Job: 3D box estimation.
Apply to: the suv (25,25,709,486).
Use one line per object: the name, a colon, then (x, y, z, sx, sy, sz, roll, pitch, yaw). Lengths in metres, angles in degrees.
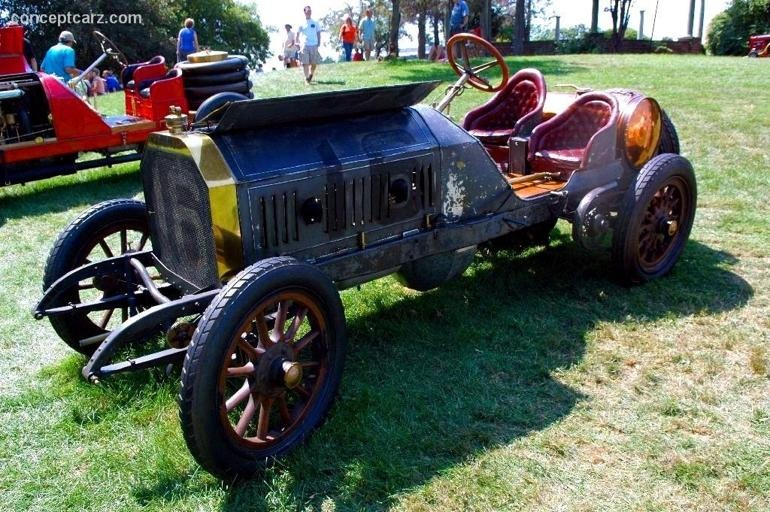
suv: (0.391, -0.137, 5.730, 6.261, 2.736, 2.812, -15, 19, -33)

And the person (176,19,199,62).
person: (-4.785, -4.976, 15.024, 0.436, 1.362, 0.407, -1, 39, -15)

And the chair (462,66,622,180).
chair: (1.534, -1.333, 6.310, 1.492, 1.057, 1.106, 23, 48, 38)
